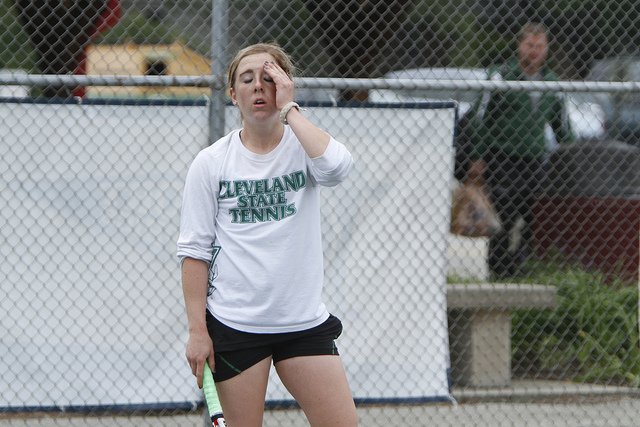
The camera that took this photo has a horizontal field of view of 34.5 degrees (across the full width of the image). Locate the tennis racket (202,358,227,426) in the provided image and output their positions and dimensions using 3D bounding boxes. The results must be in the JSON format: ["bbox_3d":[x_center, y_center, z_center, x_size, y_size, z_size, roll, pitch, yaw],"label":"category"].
[{"bbox_3d":[-0.790,1.326,7.624,0.120,0.408,0.280,-10,28,-15],"label":"tennis racket"}]

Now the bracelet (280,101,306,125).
[{"bbox_3d":[-0.203,-0.748,7.649,0.151,0.130,0.058,-28,40,-13],"label":"bracelet"}]
